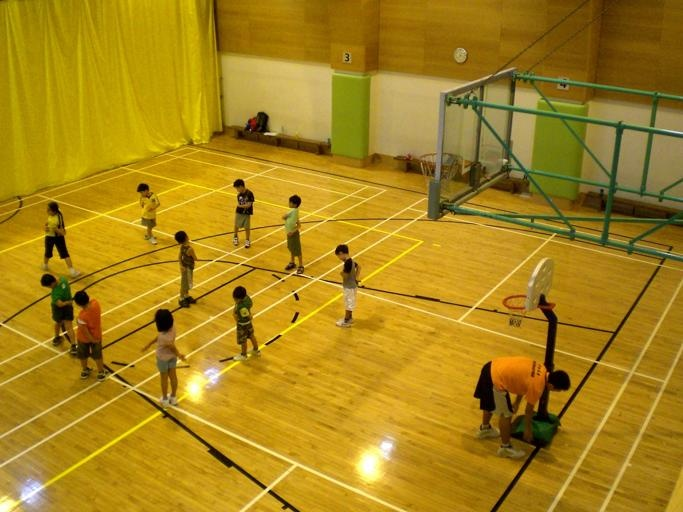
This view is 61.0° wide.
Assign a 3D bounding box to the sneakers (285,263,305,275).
[{"bbox_3d":[-1.017,0.270,12.546,0.454,0.187,0.180,15,58,5],"label":"sneakers"}]

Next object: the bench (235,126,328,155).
[{"bbox_3d":[-2.042,-3.923,19.616,3.768,0.445,0.382,16,33,25],"label":"bench"}]

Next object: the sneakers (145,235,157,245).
[{"bbox_3d":[-4.458,-0.387,13.610,0.356,0.154,0.133,30,56,23],"label":"sneakers"}]

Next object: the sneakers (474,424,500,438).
[{"bbox_3d":[2.149,2.618,8.586,0.320,0.216,0.170,-4,38,-4],"label":"sneakers"}]

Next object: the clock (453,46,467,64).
[{"bbox_3d":[3.281,-5.561,16.057,0.377,0.399,0.101,28,30,32],"label":"clock"}]

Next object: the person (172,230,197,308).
[{"bbox_3d":[-3.069,0.167,11.248,0.434,1.542,0.555,-11,30,-17],"label":"person"}]

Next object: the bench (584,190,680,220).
[{"bbox_3d":[7.260,-1.262,14.808,2.192,0.433,0.495,16,33,25],"label":"bench"}]

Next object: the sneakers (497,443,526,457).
[{"bbox_3d":[2.424,2.812,8.302,0.319,0.156,0.173,1,26,10],"label":"sneakers"}]

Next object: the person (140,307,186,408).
[{"bbox_3d":[-2.750,1.511,8.973,0.520,1.746,0.690,-12,31,-20],"label":"person"}]

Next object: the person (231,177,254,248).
[{"bbox_3d":[-2.331,-1.200,13.372,0.544,1.739,1.378,-6,30,-9],"label":"person"}]

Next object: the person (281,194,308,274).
[{"bbox_3d":[-1.046,-0.507,12.146,0.395,1.789,0.643,-3,29,-5],"label":"person"}]

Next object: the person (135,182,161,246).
[{"bbox_3d":[-4.639,-1.247,13.776,0.456,1.479,1.465,-11,31,-18],"label":"person"}]
